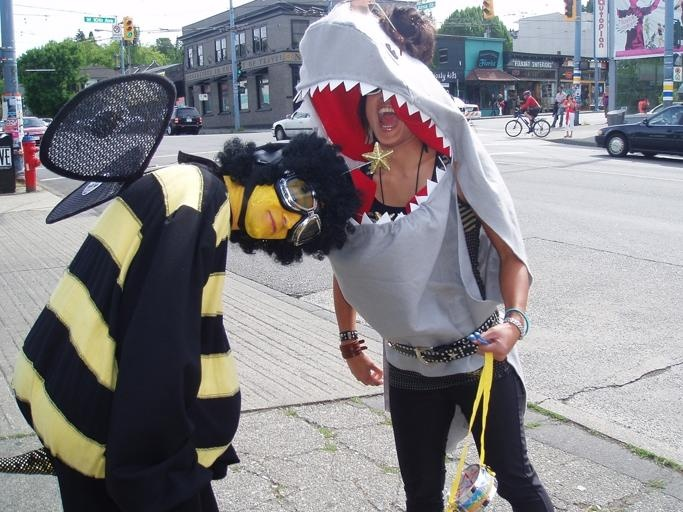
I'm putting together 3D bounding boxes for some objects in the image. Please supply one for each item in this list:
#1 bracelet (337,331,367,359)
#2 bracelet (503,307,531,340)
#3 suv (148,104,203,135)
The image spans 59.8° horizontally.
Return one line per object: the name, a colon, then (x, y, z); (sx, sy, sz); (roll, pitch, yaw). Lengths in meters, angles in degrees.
bracelet: (0.048, 0.394, 2.747); (0.104, 0.112, 0.141); (-5, 9, 11)
bracelet: (0.633, 0.237, 2.147); (0.086, 0.116, 0.156); (3, 15, 15)
suv: (-9.719, -8.344, 36.947); (1.778, 1.665, 2.340); (-5, 15, -17)
